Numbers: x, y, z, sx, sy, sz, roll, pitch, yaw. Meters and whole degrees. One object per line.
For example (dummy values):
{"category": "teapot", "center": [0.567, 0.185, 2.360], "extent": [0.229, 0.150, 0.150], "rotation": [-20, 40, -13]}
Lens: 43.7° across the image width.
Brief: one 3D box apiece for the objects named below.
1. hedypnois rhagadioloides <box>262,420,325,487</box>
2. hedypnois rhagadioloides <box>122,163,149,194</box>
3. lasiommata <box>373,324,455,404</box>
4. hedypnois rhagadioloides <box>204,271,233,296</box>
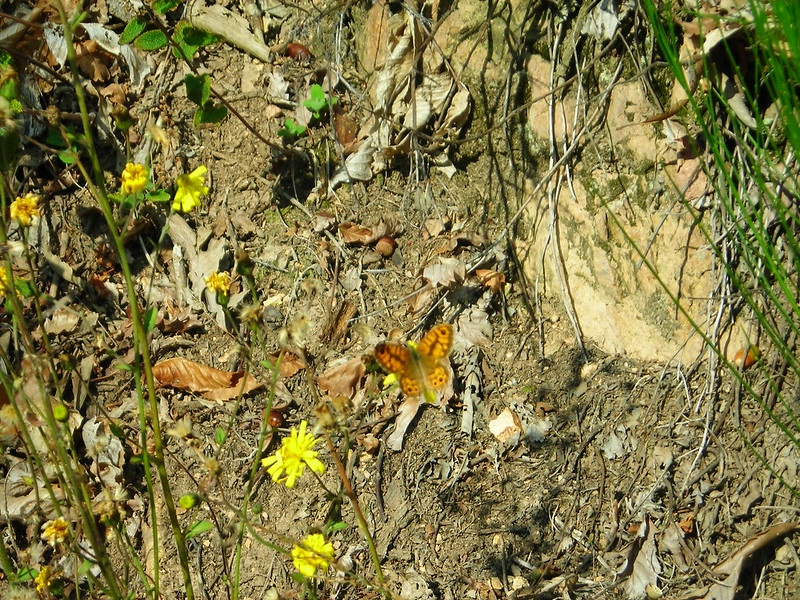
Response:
{"category": "hedypnois rhagadioloides", "center": [-0.363, 0.539, 3.560], "extent": [0.230, 0.115, 0.245], "rotation": [5, 13, 43]}
{"category": "hedypnois rhagadioloides", "center": [-0.932, -0.420, 3.546], "extent": [0.102, 0.048, 0.141], "rotation": [-3, 92, -5]}
{"category": "lasiommata", "center": [0.050, 0.259, 3.738], "extent": [0.349, 0.097, 0.275], "rotation": [-12, 79, -41]}
{"category": "hedypnois rhagadioloides", "center": [-0.734, -0.063, 3.997], "extent": [0.064, 0.032, 0.086], "rotation": [-2, 66, 10]}
